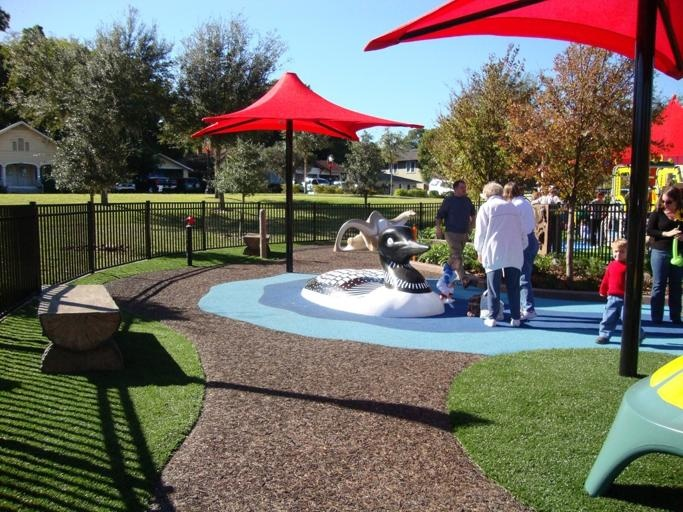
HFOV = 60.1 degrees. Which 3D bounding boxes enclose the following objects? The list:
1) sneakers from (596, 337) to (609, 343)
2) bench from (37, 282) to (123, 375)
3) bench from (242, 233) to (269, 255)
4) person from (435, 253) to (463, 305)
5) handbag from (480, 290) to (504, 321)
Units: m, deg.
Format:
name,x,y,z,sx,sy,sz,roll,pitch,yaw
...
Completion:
name,x,y,z,sx,sy,sz,roll,pitch,yaw
sneakers,3.949,1.260,8.928,0.090,0.083,0.166,-4,-7,42
bench,-3.345,0.529,7.607,0.800,0.632,1.736,2,17,-23
bench,-2.755,-0.345,18.481,0.693,0.585,0.741,0,-1,-7
person,2.185,0.497,11.965,0.309,0.834,0.563,-8,36,7
handbag,2.554,0.852,10.082,0.334,0.495,0.267,14,48,18
